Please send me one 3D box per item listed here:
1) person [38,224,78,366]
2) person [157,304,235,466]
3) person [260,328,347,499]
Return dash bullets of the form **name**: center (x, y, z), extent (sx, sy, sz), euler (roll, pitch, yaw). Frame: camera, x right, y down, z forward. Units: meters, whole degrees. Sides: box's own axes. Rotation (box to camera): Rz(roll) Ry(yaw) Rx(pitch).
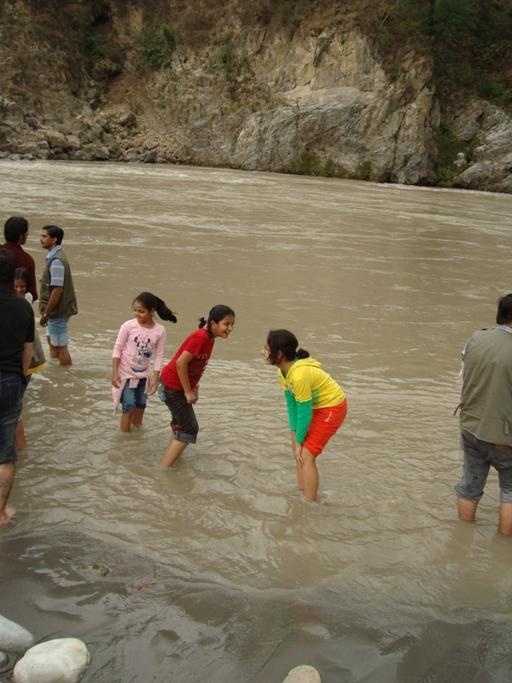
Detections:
- **person**: center (-2.045, -0.425, 6.899), extent (0.360, 1.487, 0.593), euler (3, 13, -16)
- **person**: center (-0.471, 0.343, 4.977), extent (0.490, 1.315, 0.609), euler (5, 12, -8)
- **person**: center (0.308, 0.540, 4.614), extent (0.550, 1.238, 0.346), euler (-3, 16, -37)
